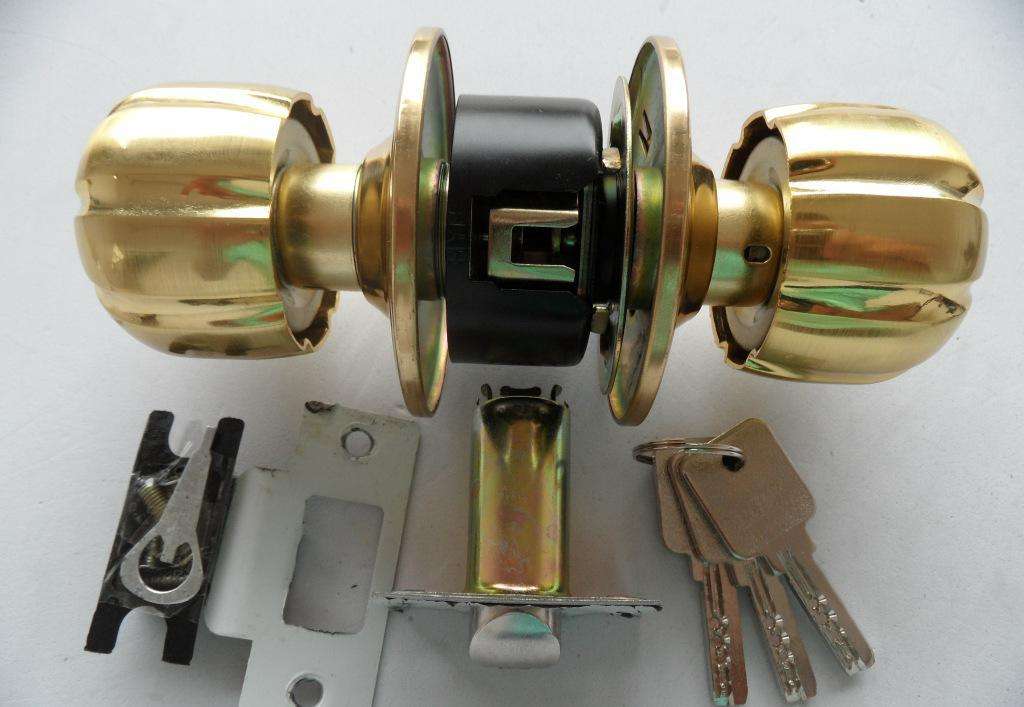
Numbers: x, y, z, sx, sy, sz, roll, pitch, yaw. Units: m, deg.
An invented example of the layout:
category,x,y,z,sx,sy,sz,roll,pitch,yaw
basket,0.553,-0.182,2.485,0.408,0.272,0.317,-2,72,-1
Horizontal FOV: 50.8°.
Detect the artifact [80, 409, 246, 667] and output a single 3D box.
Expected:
category,x,y,z,sx,sy,sz,roll,pitch,yaw
artifact,-0.807,0.421,2.521,0.276,0.136,0.616,10,81,0
